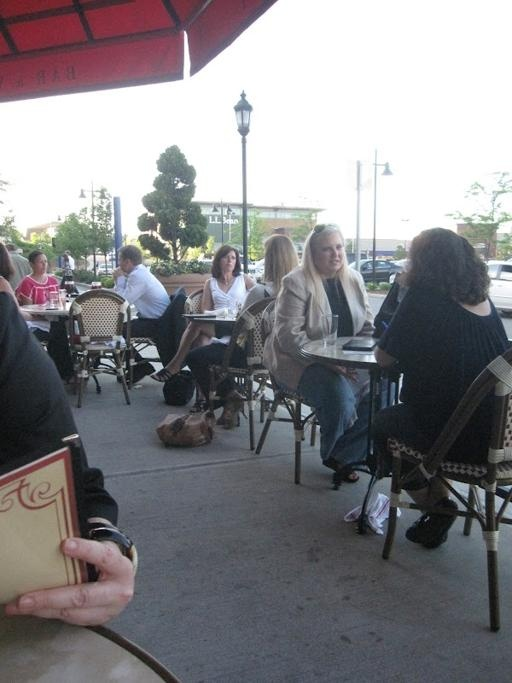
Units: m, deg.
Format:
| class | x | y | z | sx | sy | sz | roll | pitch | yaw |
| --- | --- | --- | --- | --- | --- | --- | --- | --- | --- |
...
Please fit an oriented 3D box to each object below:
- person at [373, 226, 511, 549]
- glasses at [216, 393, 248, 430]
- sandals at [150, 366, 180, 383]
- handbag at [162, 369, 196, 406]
| class | x | y | z | sx | sy | sz | roll | pitch | yaw |
| --- | --- | --- | --- | --- | --- | --- | --- | --- | --- |
| person | 0.744 | 0.229 | 2.305 | 0.559 | 1.372 | 0.398 | 6 | 8 | 43 |
| glasses | -0.207 | 0.592 | 4.761 | 0.207 | 0.299 | 0.083 | 29 | -35 | -11 |
| sandals | -0.876 | 0.342 | 5.533 | 0.279 | 0.089 | 0.139 | -19 | 25 | -41 |
| handbag | -0.739 | 0.434 | 5.461 | 0.327 | 0.423 | 0.318 | 1 | 1 | 0 |
